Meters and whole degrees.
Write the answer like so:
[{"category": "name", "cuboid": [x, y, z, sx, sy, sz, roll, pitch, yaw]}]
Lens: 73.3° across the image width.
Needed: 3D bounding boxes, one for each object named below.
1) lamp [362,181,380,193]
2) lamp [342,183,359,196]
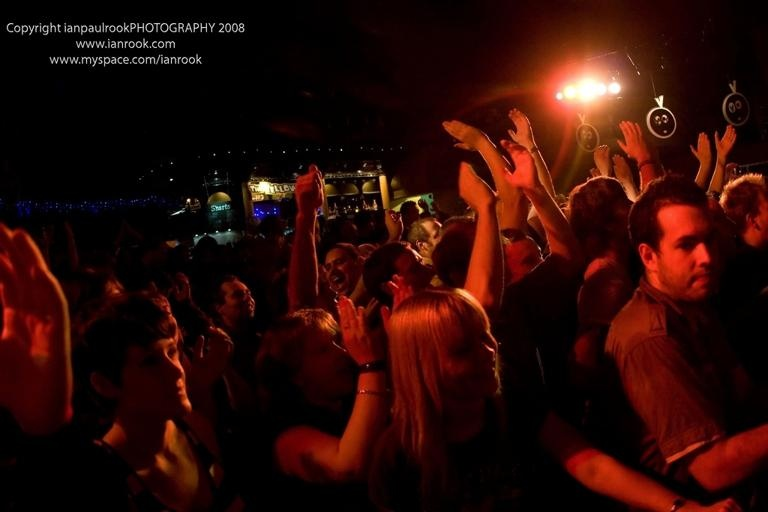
[{"category": "lamp", "cuboid": [-0.460, -2.328, 17.368, 0.437, 0.431, 0.443, -1, -2, -7]}, {"category": "lamp", "cuboid": [-1.098, -2.145, 16.787, 0.405, 0.396, 0.089, -4, 0, -34]}]
